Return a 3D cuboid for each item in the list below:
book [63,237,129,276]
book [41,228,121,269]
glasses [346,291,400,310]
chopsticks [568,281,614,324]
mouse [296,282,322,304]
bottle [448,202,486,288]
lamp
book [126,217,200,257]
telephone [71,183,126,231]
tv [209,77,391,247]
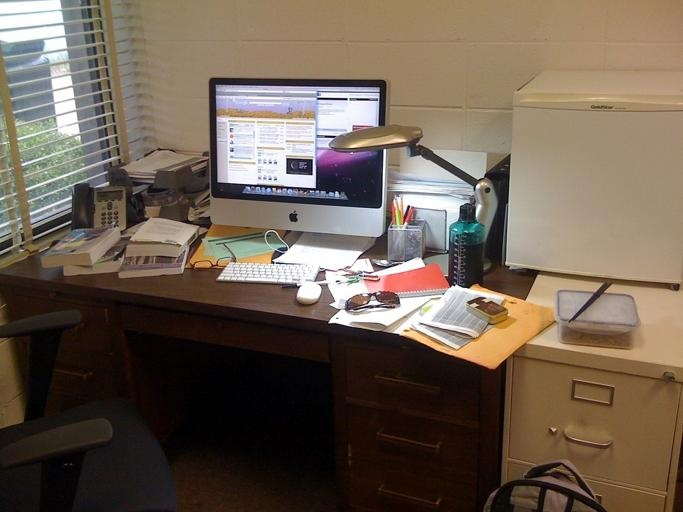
[{"bbox_3d":[-0.822,-0.013,1.885,0.134,0.029,0.128,-5,25,9],"label":"book"},{"bbox_3d":[-0.897,-0.037,1.898,0.175,0.039,0.168,0,29,17],"label":"book"},{"bbox_3d":[0.091,0.134,1.634,0.162,0.043,0.101,4,20,1],"label":"glasses"},{"bbox_3d":[0.686,0.132,1.503,0.157,0.013,0.024,-34,14,-23],"label":"chopsticks"},{"bbox_3d":[-0.098,0.113,1.689,0.068,0.048,0.105,9,20,14],"label":"mouse"},{"bbox_3d":[0.392,-0.030,1.686,0.123,0.254,0.113,4,21,-1],"label":"bottle"},{"bbox_3d":[0.259,-0.176,1.822,0.531,0.523,0.212,-6,24,0],"label":"lamp"},{"bbox_3d":[-0.633,-0.076,1.966,0.167,0.037,0.161,5,29,4],"label":"book"},{"bbox_3d":[-0.925,-0.189,2.129,0.239,0.212,0.080,7,-9,13],"label":"telephone"},{"bbox_3d":[-0.143,-0.345,1.905,0.643,0.464,0.063,4,13,12],"label":"tv"}]
